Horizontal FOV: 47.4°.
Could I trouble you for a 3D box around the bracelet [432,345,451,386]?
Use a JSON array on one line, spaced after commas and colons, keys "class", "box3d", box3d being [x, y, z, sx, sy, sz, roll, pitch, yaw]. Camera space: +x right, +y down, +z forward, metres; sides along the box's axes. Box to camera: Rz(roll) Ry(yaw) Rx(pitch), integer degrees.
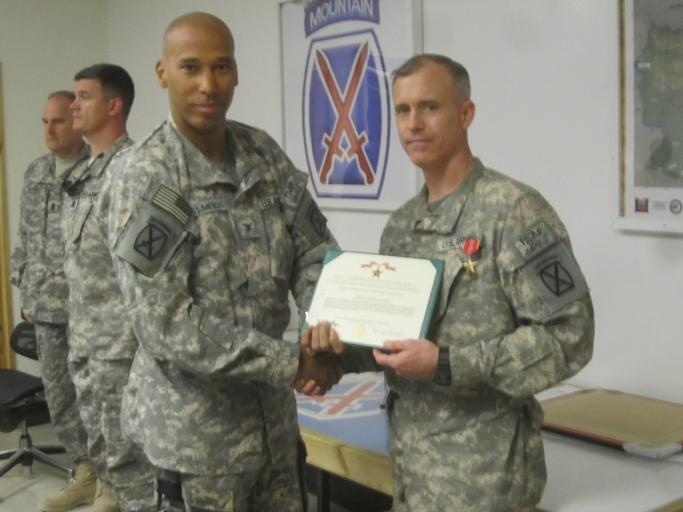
[{"class": "bracelet", "box3d": [0.304, 0.332, 2.330, 0.029, 0.096, 0.064, 4, 1, -11]}]
